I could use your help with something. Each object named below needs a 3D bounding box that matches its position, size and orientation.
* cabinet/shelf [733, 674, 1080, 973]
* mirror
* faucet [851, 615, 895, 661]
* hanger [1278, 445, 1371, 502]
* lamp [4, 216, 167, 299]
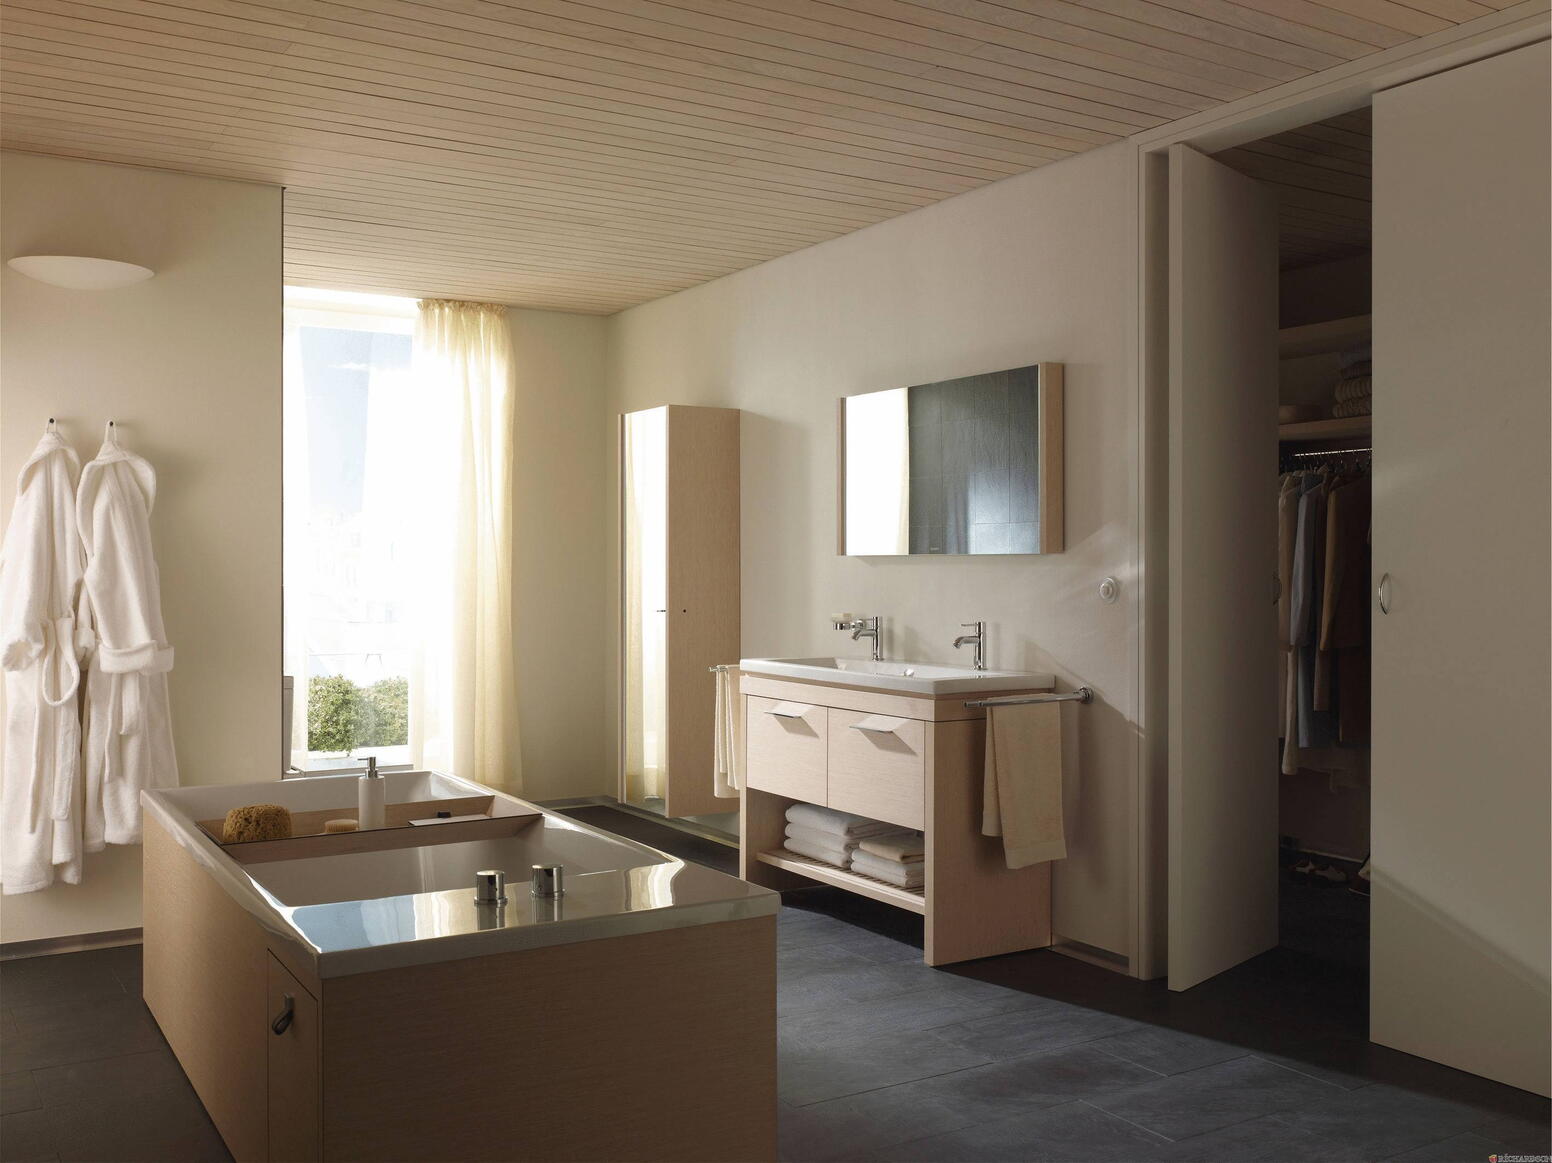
[{"bbox_3d":[0.449,0.878,5.340,0.641,1.056,1.711,0,-2,-30],"label":"cabinet/shelf"},{"bbox_3d":[0.646,-0.471,5.380,1.202,0.717,0.137,-8,9,-41],"label":"mirror"},{"bbox_3d":[0.382,0.262,5.694,0.194,0.247,0.165,1,-1,-25],"label":"faucet"},{"bbox_3d":[2.515,-0.523,5.801,0.233,0.282,0.416,1,-1,-23],"label":"hanger"},{"bbox_3d":[-2.683,-1.262,4.843,0.544,0.296,0.246,-2,5,-19],"label":"lamp"}]
